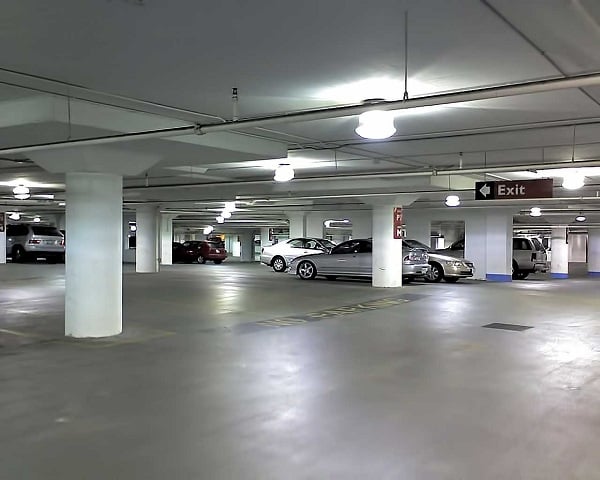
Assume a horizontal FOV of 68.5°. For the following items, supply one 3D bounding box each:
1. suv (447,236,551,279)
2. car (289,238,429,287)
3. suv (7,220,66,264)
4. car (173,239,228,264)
[{"bbox_3d":[10.589,0.902,23.989,5.236,1.790,2.361,2,0,19],"label":"suv"},{"bbox_3d":[2.458,0.902,19.047,5.047,1.432,2.160,2,0,29],"label":"car"},{"bbox_3d":[-16.745,0.265,27.760,3.575,2.370,1.635,-1,-2,29],"label":"suv"},{"bbox_3d":[-7.966,1.058,34.612,3.881,1.700,2.488,-2,-2,44],"label":"car"}]
